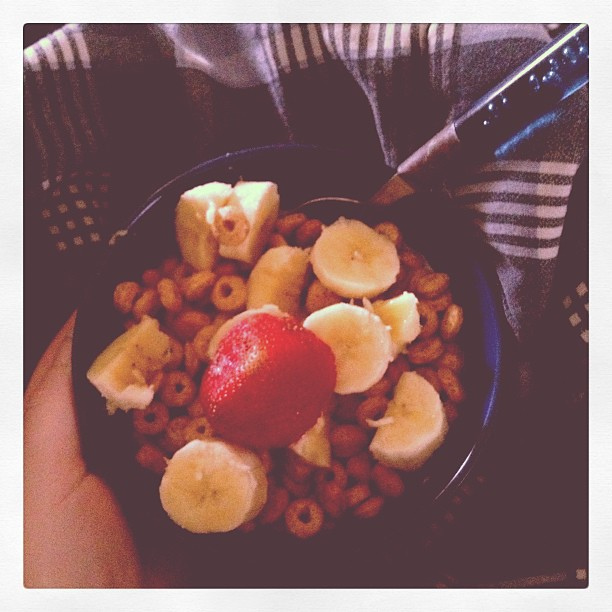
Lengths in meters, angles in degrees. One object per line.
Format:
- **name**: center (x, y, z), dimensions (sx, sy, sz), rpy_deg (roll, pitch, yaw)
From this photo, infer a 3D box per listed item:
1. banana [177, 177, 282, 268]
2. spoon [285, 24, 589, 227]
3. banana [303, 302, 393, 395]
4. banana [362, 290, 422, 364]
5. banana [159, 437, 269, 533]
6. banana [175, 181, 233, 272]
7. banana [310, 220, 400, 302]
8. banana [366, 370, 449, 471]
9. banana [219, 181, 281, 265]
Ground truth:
- **banana**: center (-0.134, -0.134, 1.102), dimensions (0.135, 0.043, 0.164), rpy_deg (-4, 95, -1)
- **spoon**: center (0.238, -0.271, 1.048), dimensions (0.558, 0.148, 0.094), rpy_deg (-28, 69, -15)
- **banana**: center (0.059, 0.069, 1.048), dimensions (0.144, 0.039, 0.170), rpy_deg (6, 82, -6)
- **banana**: center (0.147, 0.023, 1.104), dimensions (0.095, 0.042, 0.107), rpy_deg (-26, 88, -1)
- **banana**: center (-0.152, 0.291, 1.042), dimensions (0.176, 0.089, 0.135), rpy_deg (10, 66, 0)
- **banana**: center (-0.174, -0.126, 1.084), dimensions (0.034, 0.114, 0.161), rpy_deg (-11, 64, 26)
- **banana**: center (0.084, -0.102, 1.076), dimensions (0.151, 0.174, 0.046), rpy_deg (3, 63, -1)
- **banana**: center (0.164, 0.175, 1.057), dimensions (0.136, 0.177, 0.042), rpy_deg (18, 32, -10)
- **banana**: center (-0.086, -0.124, 1.052), dimensions (0.083, 0.031, 0.136), rpy_deg (9, 90, 15)
